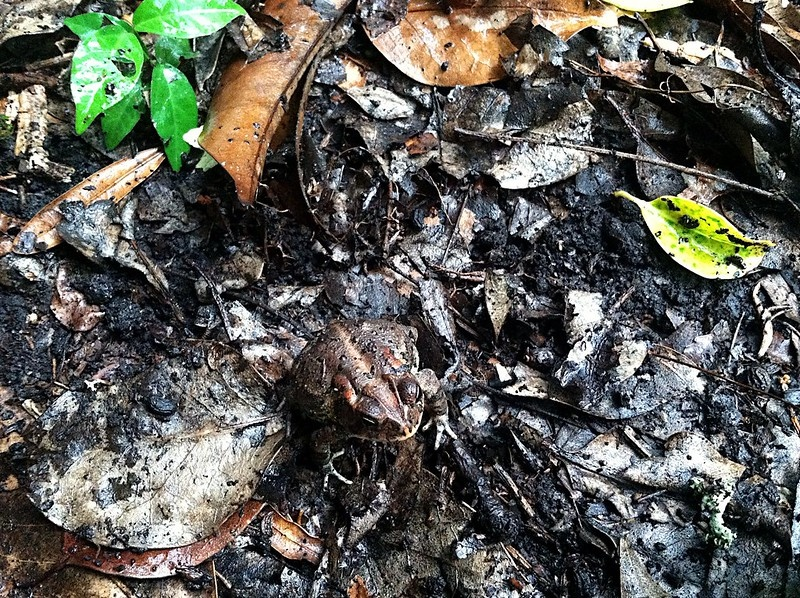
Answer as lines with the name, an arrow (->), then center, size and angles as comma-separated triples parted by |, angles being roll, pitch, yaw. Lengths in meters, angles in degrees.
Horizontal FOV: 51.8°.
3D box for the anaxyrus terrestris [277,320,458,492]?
anaxyrus terrestris -> -0.206, 0.502, 4.956 | 0.884, 0.596, 1.144 | -14, 47, -8
